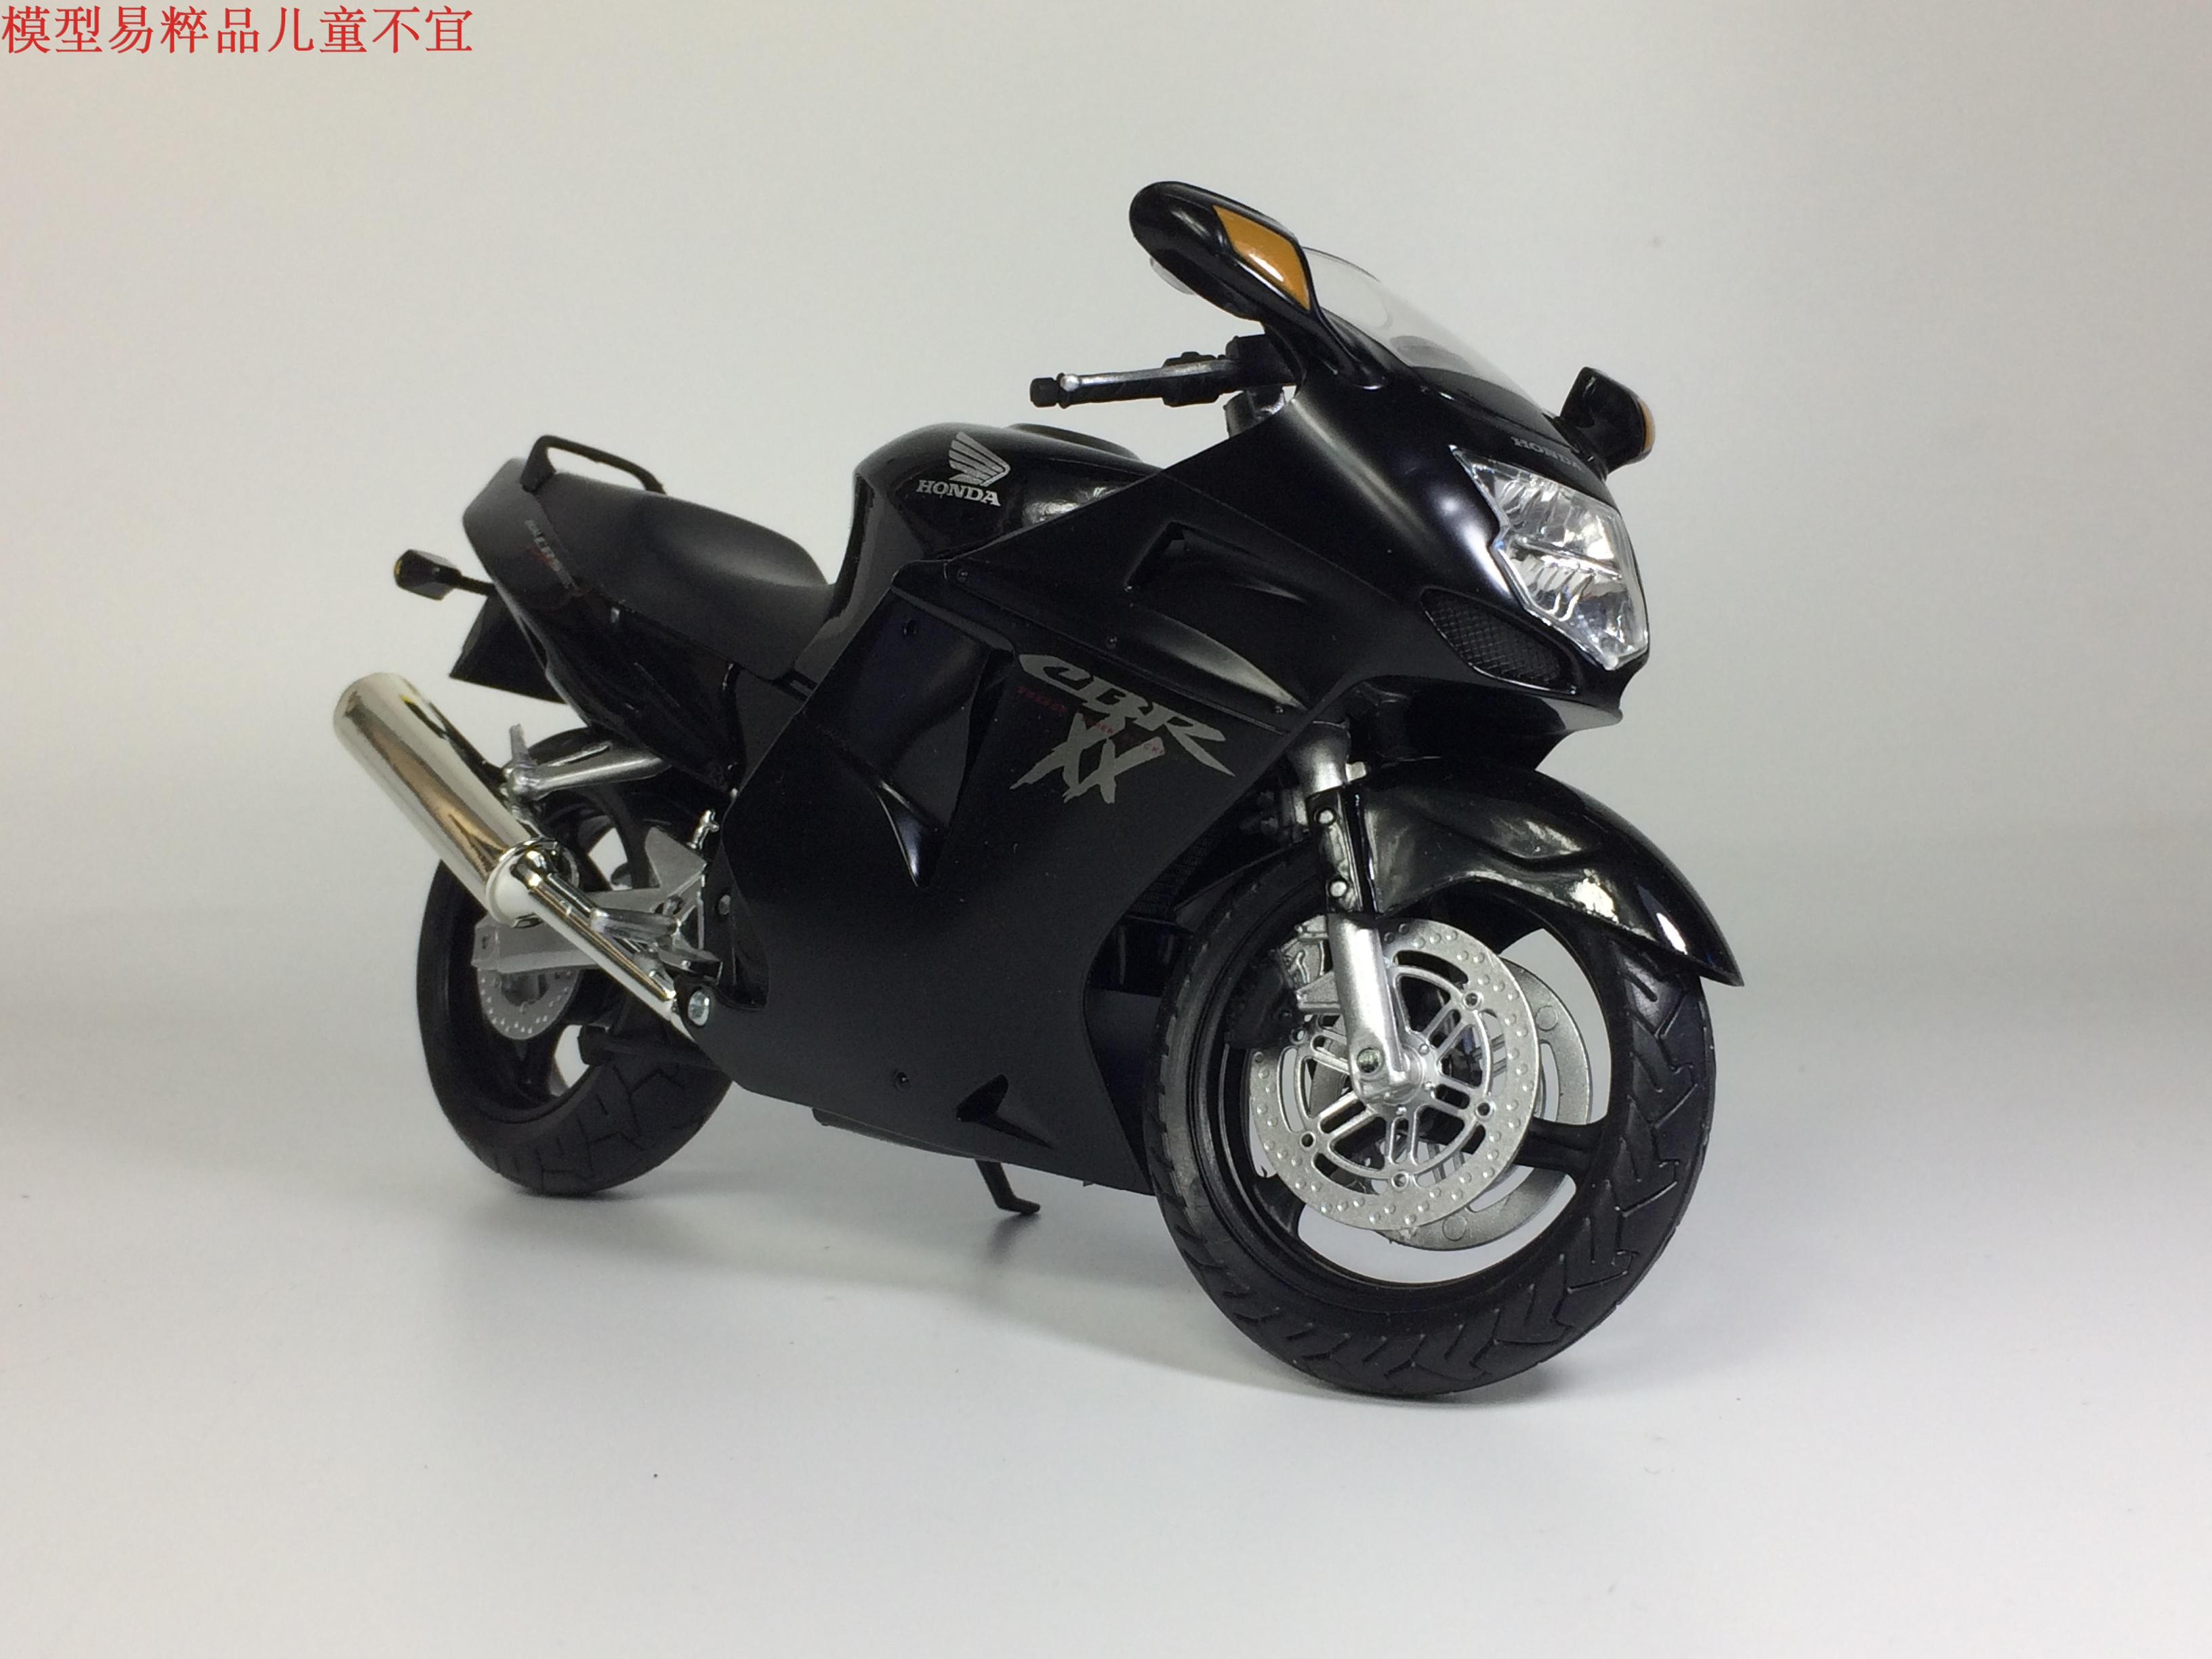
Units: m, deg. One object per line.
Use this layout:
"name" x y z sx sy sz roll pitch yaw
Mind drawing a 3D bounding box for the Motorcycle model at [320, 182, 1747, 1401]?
"Motorcycle model" 0.089 -0.043 3.938 2.213 1.546 0.961 3 4 31

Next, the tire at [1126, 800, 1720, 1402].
"tire" 0.358 0.312 3.140 0.642 0.742 0.193 1 2 24
